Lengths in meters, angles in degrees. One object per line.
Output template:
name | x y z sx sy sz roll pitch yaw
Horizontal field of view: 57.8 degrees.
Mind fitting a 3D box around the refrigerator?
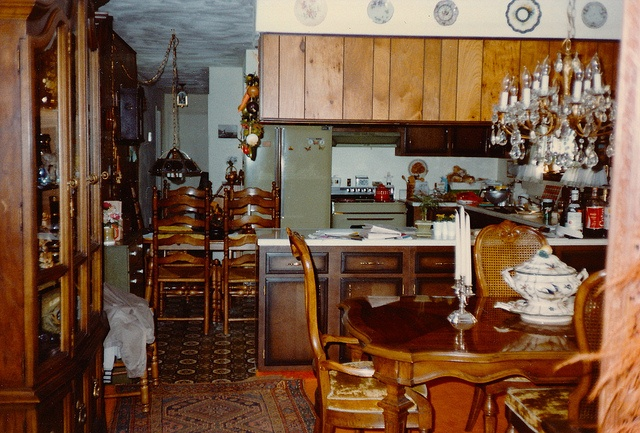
refrigerator | -0.461 -0.541 6.659 0.889 1.437 0.694 -7 38 -12

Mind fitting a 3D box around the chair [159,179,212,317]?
chair | -1.225 0.311 5.145 0.621 1.094 0.629 3 8 7

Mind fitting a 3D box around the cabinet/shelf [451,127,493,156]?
cabinet/shelf | 1.837 -0.903 7.079 0.446 0.355 0.268 2 10 11

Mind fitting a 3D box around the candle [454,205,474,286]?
candle | 0.681 0.134 2.754 0.083 0.403 0.270 3 10 13

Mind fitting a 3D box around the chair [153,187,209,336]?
chair | -1.216 0.234 5.086 0.620 1.000 0.592 -1 2 -35

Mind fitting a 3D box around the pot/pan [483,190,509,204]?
pot/pan | 1.925 -0.216 6.356 0.173 0.120 0.174 2 -1 29

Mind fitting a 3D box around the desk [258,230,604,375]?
desk | 0.558 0.604 4.447 2.201 0.893 0.524 1 1 -18

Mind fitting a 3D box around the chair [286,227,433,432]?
chair | 0.132 0.547 3.357 0.944 1.398 0.905 -2 1 -4

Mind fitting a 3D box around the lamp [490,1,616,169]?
lamp | 1.562 -0.912 3.874 0.651 1.131 1.817 4 10 22

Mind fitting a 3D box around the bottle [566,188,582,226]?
bottle | 1.982 -0.054 4.513 0.133 0.263 0.433 5 11 23
